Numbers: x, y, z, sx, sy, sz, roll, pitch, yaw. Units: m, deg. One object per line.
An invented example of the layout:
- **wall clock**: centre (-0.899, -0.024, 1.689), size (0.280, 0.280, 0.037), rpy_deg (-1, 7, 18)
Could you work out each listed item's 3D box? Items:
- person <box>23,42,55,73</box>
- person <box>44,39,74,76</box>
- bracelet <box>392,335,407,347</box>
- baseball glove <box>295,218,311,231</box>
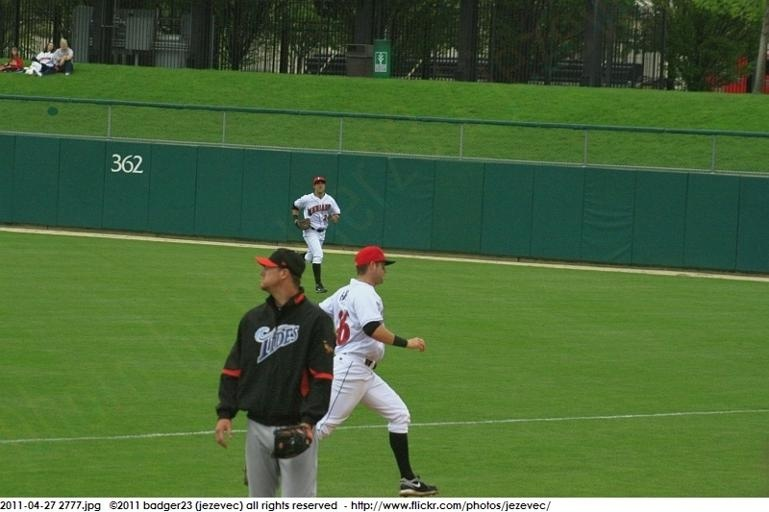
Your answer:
- **person**: centre (-12.236, -6.930, 72.473), size (0.821, 0.754, 1.682), rpy_deg (14, 20, 7)
- **person**: centre (-11.511, -7.136, 72.354), size (0.960, 1.188, 1.193), rpy_deg (6, 10, 11)
- **bracelet**: centre (0.457, 2.230, 51.937), size (0.618, 0.153, 0.189), rpy_deg (21, -30, -37)
- **baseball glove**: centre (-2.507, -0.932, 59.854), size (0.470, 0.315, 0.501), rpy_deg (0, 6, -34)
